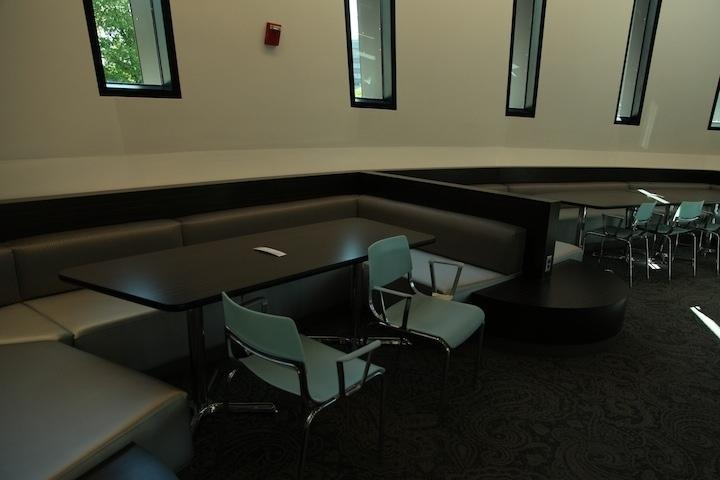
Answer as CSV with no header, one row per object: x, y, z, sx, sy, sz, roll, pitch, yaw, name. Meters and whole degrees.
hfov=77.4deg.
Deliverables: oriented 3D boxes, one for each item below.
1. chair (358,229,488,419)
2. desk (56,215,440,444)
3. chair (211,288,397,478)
0.527,0.590,3.465,0.849,1.132,0.883,-9,18,-23,chair
-0.626,0.602,3.455,2.104,0.953,1.053,-11,15,-7,desk
-0.321,0.796,2.873,0.873,1.038,0.663,-14,24,-27,chair
